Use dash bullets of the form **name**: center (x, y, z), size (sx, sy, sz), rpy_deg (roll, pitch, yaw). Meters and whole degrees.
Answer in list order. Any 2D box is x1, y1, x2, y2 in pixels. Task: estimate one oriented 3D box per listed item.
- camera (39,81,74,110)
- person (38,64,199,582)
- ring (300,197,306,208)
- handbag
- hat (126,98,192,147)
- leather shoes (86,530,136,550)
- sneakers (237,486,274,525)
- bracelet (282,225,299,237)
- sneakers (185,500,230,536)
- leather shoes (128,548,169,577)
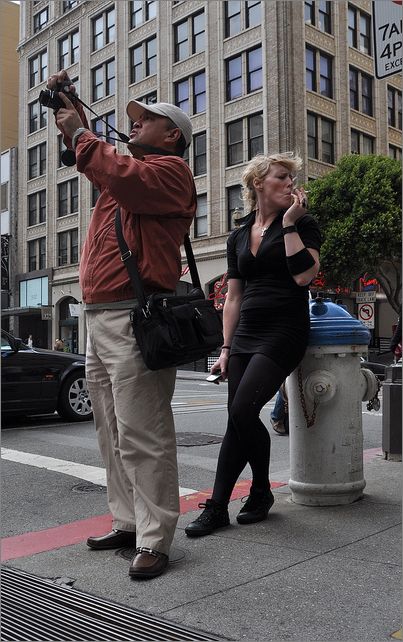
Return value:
- **camera**: center (-0.628, -0.970, 3.035), size (0.154, 0.147, 0.188), rpy_deg (-3, -2, -8)
- **person**: center (-0.344, -0.067, 3.092), size (0.585, 2.185, 0.614), rpy_deg (-4, -2, 35)
- **ring**: center (0.503, -0.583, 3.429), size (0.022, 0.035, 0.036), rpy_deg (-1, -2, 0)
- **handbag**: center (-0.103, 0.019, 3.005), size (0.247, 0.279, 0.403), rpy_deg (-24, -9, 36)
- **hat**: center (-0.167, -0.940, 3.205), size (0.292, 0.148, 0.180), rpy_deg (33, -6, -31)
- **leather shoes**: center (-0.406, 1.001, 3.194), size (0.237, 0.092, 0.083), rpy_deg (4, -11, -7)
- **sneakers**: center (0.279, 0.954, 3.579), size (0.089, 0.092, 0.244), rpy_deg (-8, 0, 25)
- **bracelet**: center (0.426, -0.451, 3.454), size (0.095, 0.049, 0.054), rpy_deg (-5, -3, 39)
- **sneakers**: center (0.036, 0.963, 3.378), size (0.096, 0.137, 0.262), rpy_deg (-9, -11, 38)
- **leather shoes**: center (-0.207, 0.953, 2.773), size (0.128, 0.101, 0.211), rpy_deg (-3, -2, 6)
